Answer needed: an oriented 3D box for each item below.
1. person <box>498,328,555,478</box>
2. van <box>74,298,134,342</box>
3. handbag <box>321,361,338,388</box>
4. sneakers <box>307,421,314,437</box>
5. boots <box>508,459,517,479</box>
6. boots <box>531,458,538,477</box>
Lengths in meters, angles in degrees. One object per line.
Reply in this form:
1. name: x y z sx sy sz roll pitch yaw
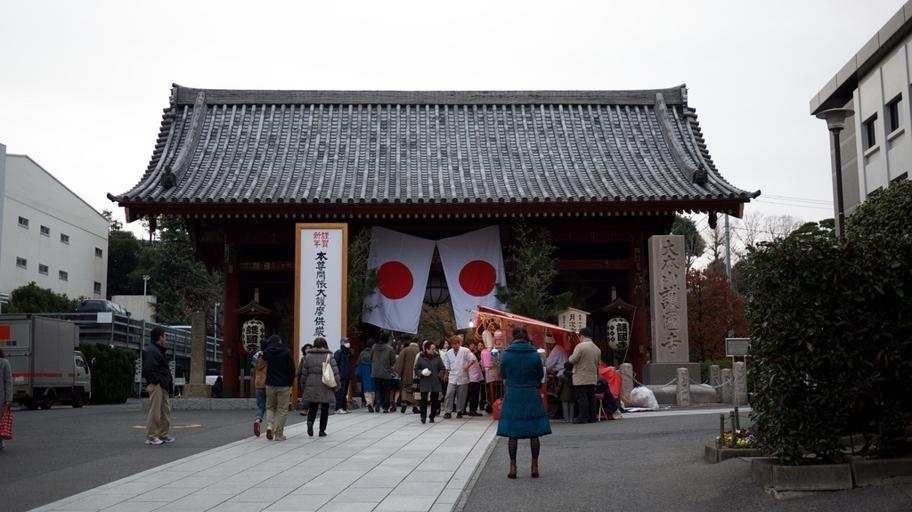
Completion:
1. person: 1.446 3.215 17.290 1.077 3.268 0.481 -2 -13 2
2. van: -20.406 3.858 45.391 2.770 2.252 4.731 -1 -7 -6
3. handbag: -3.362 3.153 20.624 0.269 0.634 0.608 -6 -11 11
4. sneakers: -3.855 4.615 20.771 0.147 0.412 0.166 1 -2 -10
5. boots: 1.202 4.635 17.000 0.200 0.389 0.376 -2 -13 2
6. boots: 1.710 4.635 17.112 0.193 0.372 0.473 -3 -13 5
